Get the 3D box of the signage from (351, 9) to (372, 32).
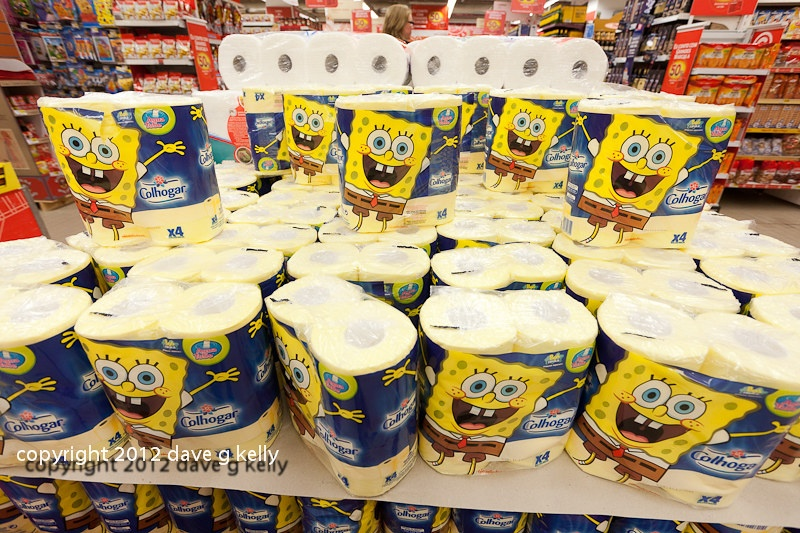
[{"bbox_3d":[-0.392,-2.562,5.277,0.186,0.174,0.389,0,30,-6],"label":"signage"}]
